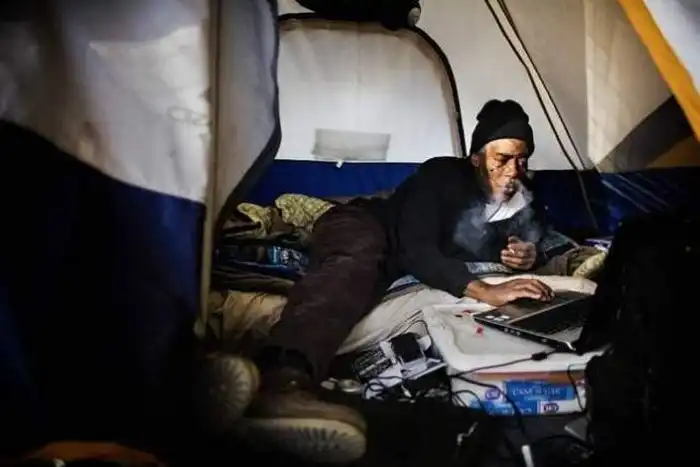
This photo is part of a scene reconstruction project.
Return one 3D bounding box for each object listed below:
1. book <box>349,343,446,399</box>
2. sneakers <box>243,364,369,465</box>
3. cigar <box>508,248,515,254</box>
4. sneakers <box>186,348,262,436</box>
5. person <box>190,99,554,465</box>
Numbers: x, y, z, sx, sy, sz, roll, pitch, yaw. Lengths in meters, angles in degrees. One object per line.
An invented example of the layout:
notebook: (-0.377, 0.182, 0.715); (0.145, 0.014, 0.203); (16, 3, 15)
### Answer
book: (0.107, 0.388, 1.524); (0.159, 0.038, 0.145); (-24, 22, -30)
sneakers: (-0.116, 0.485, 1.346); (0.341, 0.136, 0.216); (12, 32, 6)
cigar: (0.642, 0.070, 2.125); (0.027, 0.015, 0.007); (32, -7, 12)
sneakers: (-0.296, 0.349, 1.262); (0.140, 0.193, 0.074); (11, 2, 16)
person: (0.090, 0.147, 1.693); (0.404, 0.397, 1.185); (-1, 15, 27)
